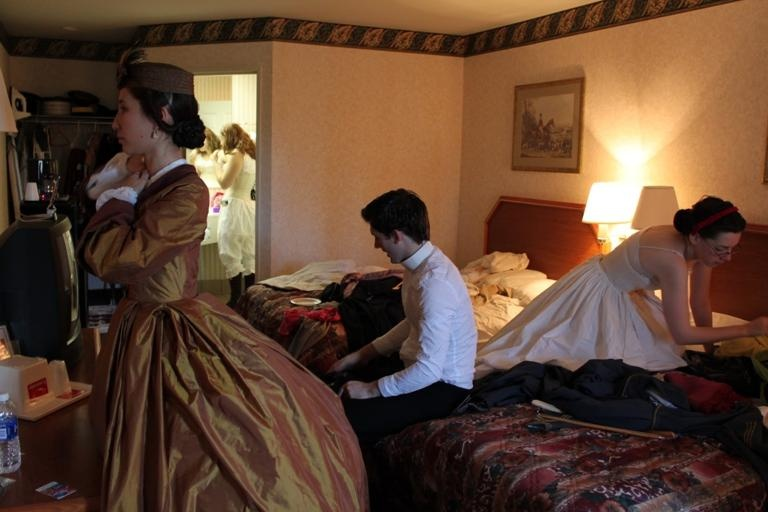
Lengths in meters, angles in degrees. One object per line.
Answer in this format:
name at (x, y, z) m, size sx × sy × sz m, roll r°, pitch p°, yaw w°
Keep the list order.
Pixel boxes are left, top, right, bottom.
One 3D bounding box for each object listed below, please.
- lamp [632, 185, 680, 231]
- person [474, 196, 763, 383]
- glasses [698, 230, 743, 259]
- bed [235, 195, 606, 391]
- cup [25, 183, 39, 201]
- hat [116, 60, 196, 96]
lamp at (1.838, -0.342, 3.764) m, size 0.315 × 0.301 × 0.308 m, roll 1°, pitch 12°, yaw 20°
person at (1.237, 0.242, 3.042) m, size 1.388 × 0.858 × 0.969 m, roll 1°, pitch 14°, yaw 38°
glasses at (1.691, -0.050, 2.759) m, size 0.160 × 0.051 × 0.170 m, roll 0°, pitch 30°, yaw -9°
bed at (0.333, 0.262, 4.157) m, size 2.032 × 1.067 × 1.561 m, roll -2°, pitch 9°, yaw -20°
cup at (-2.589, -0.477, 4.006) m, size 0.075 × 0.135 × 0.149 m, roll -6°, pitch 13°, yaw -35°
hat at (-0.863, -0.663, 2.066) m, size 0.257 × 0.105 × 0.201 m, roll -2°, pitch 13°, yaw -42°
